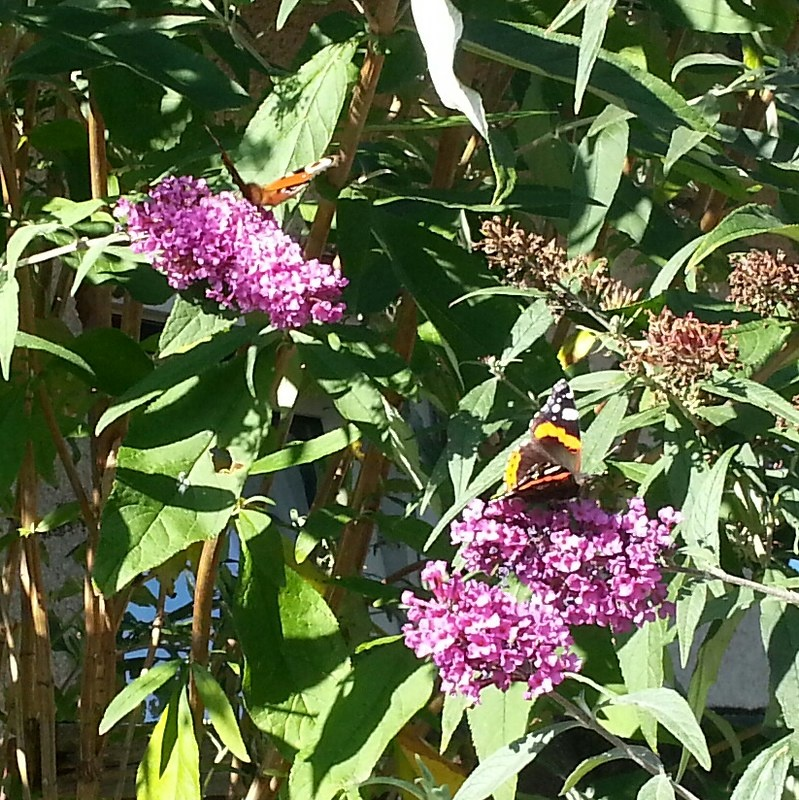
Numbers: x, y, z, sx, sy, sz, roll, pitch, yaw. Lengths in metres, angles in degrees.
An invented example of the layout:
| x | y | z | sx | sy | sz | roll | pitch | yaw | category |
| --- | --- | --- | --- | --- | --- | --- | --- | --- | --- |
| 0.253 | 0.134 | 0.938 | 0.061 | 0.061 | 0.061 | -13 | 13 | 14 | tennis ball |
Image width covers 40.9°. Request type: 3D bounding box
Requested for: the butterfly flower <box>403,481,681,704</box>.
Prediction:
| x | y | z | sx | sy | sz | roll | pitch | yaw | category |
| --- | --- | --- | --- | --- | --- | --- | --- | --- | --- |
| 0.105 | 0.117 | 0.778 | 0.202 | 0.148 | 0.224 | 13 | 15 | 19 | butterfly flower |

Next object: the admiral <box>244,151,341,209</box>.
| x | y | z | sx | sy | sz | roll | pitch | yaw | category |
| --- | --- | --- | --- | --- | --- | --- | --- | --- | --- |
| -0.084 | -0.162 | 0.810 | 0.071 | 0.021 | 0.019 | -22 | -3 | 8 | admiral |

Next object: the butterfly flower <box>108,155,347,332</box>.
| x | y | z | sx | sy | sz | roll | pitch | yaw | category |
| --- | --- | --- | --- | --- | --- | --- | --- | --- | --- |
| -0.121 | -0.134 | 0.841 | 0.179 | 0.130 | 0.167 | -4 | 17 | -11 | butterfly flower |
